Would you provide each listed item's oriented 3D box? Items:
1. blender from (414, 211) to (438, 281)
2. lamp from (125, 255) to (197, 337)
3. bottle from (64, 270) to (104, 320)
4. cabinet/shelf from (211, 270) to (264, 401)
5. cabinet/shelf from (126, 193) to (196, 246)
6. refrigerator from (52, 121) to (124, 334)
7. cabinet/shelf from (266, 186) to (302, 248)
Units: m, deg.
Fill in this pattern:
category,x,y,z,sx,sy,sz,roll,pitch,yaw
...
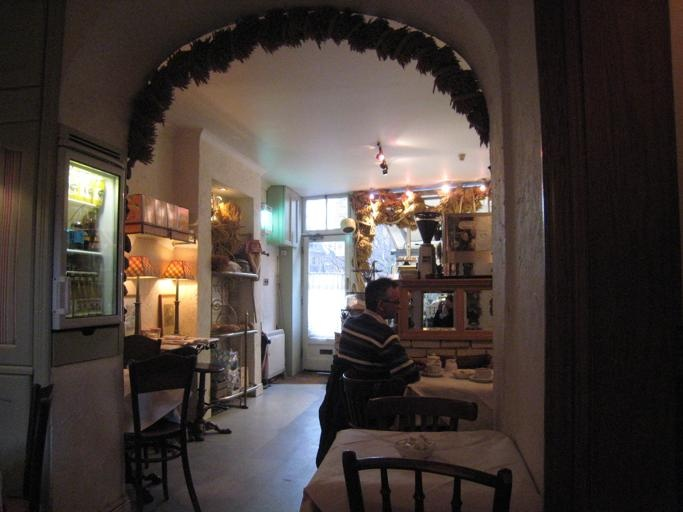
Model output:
category,x,y,z,sx,sy,sz,roll,pitch,yaw
blender,0.645,-0.095,4.354,0.176,0.504,0.482,1,-1,10
lamp,-1.547,0.357,4.900,0.251,0.673,0.648,-6,-7,33
bottle,-1.338,0.204,2.973,0.075,0.227,0.242,-3,-6,11
cabinet/shelf,-1.103,0.840,6.004,0.399,1.203,1.264,-2,-4,-1
cabinet/shelf,-1.484,-0.293,4.668,0.191,0.282,0.740,-2,-5,11
refrigerator,-1.316,-0.131,3.033,0.153,1.005,0.484,1,-1,6
cabinet/shelf,-0.780,-0.524,7.559,0.248,0.697,0.736,-2,-5,11
